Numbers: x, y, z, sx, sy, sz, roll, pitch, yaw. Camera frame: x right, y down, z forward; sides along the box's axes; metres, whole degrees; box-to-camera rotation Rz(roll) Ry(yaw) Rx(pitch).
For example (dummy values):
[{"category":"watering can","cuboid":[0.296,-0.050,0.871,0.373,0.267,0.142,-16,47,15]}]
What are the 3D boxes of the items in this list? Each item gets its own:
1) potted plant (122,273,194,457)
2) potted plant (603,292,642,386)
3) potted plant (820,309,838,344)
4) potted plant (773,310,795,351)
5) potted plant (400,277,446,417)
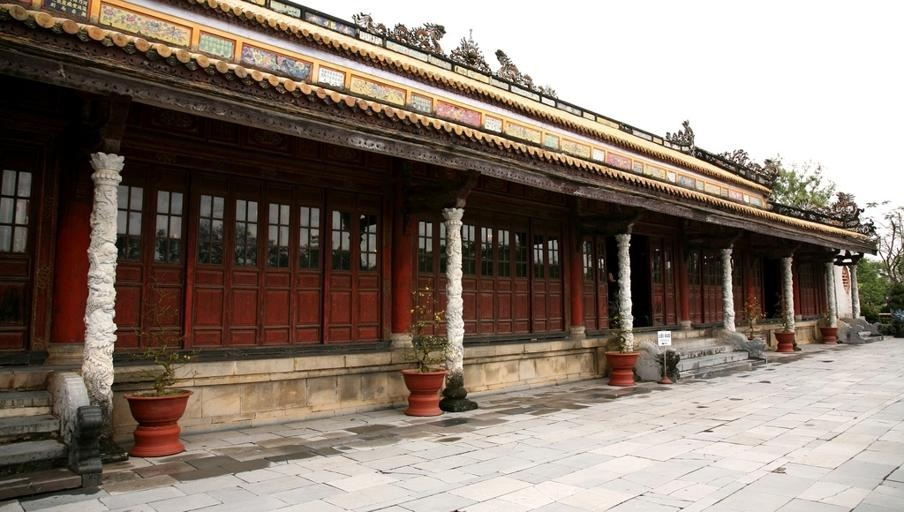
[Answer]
[{"category":"potted plant","cuboid":[-4.714,1.843,9.547,0.910,2.310,1.512,-2,6,-24]},{"category":"potted plant","cuboid":[4.095,1.904,14.100,0.733,2.191,1.682,2,5,17]},{"category":"potted plant","cuboid":[14.365,2.650,22.453,0.757,1.265,0.702,3,0,-2]},{"category":"potted plant","cuboid":[11.047,2.487,19.496,0.666,1.233,1.621,3,6,30]},{"category":"potted plant","cuboid":[-0.493,1.791,11.542,0.819,2.193,1.707,0,5,-1]}]
